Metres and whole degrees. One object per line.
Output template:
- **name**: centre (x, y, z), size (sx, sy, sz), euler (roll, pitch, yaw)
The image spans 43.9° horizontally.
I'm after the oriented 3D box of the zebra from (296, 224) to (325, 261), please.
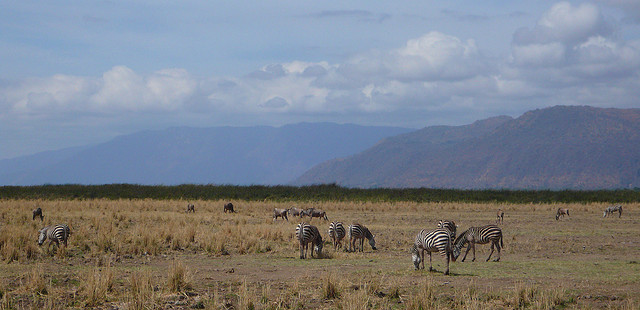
- **zebra**: centre (-4.086, 26.727, 245.756), size (7.763, 10.487, 4.122), euler (0, 13, -3)
